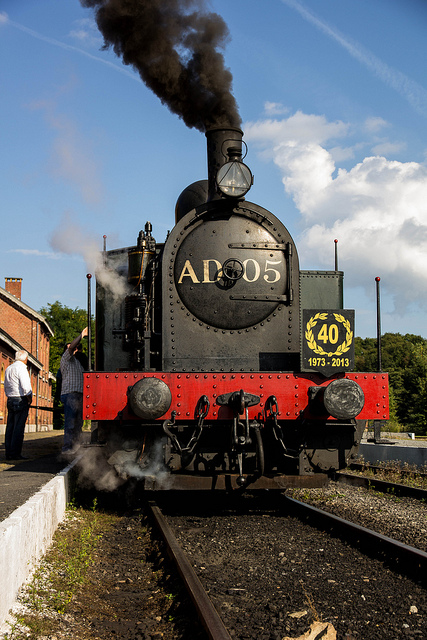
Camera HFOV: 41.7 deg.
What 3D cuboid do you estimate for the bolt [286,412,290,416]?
[{"bbox_3d":[0.730,0.912,5.459,0.034,0.029,0.046,-4,-7,-3],"label":"bolt"}]

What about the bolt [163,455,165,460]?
[{"bbox_3d":[-0.468,1.317,5.383,0.018,0.036,0.019,0,-1,-5],"label":"bolt"}]

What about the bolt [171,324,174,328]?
[{"bbox_3d":[-0.427,0.062,5.965,0.027,0.027,0.004,2,-8,-6],"label":"bolt"}]

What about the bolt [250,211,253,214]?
[{"bbox_3d":[0.431,-1.210,6.265,0.030,0.030,0.006,3,-8,-12],"label":"bolt"}]

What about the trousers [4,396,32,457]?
[{"bbox_3d":[-3.201,1.748,9.190,0.365,1.003,0.588,4,-8,-20],"label":"trousers"}]

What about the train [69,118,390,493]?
[{"bbox_3d":[0.167,-0.232,6.201,3.339,4.630,2.254,0,-8,11],"label":"train"}]

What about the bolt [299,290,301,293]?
[{"bbox_3d":[0.998,-0.335,6.421,0.018,0.033,0.033,1,6,9],"label":"bolt"}]

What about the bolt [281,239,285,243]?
[{"bbox_3d":[0.794,-0.899,6.351,0.035,0.022,0.043,2,3,1],"label":"bolt"}]

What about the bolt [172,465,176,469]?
[{"bbox_3d":[-0.383,1.437,5.467,0.027,0.038,0.011,0,-7,-20],"label":"bolt"}]

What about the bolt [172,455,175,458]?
[{"bbox_3d":[-0.378,1.329,5.466,0.029,0.021,0.016,0,3,-30],"label":"bolt"}]

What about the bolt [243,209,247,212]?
[{"bbox_3d":[0.351,-1.227,6.247,0.029,0.013,0.043,0,-2,-3],"label":"bolt"}]

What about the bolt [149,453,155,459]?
[{"bbox_3d":[-0.585,1.318,5.429,0.050,0.051,0.014,9,-5,1],"label":"bolt"}]

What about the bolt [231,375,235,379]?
[{"bbox_3d":[0.193,0.542,5.386,0.028,0.030,0.007,0,-4,-16],"label":"bolt"}]

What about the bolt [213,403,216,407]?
[{"bbox_3d":[0.016,0.810,5.352,0.025,0.036,0.012,0,-8,8],"label":"bolt"}]

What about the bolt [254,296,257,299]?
[{"bbox_3d":[0.470,-0.252,6.130,0.029,0.029,0.007,5,-9,-23],"label":"bolt"}]

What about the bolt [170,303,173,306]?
[{"bbox_3d":[-0.443,-0.173,5.994,0.027,0.027,0.005,2,-8,-6],"label":"bolt"}]

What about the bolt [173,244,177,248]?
[{"bbox_3d":[-0.402,-0.799,6.006,0.026,0.028,0.012,-2,38,-3],"label":"bolt"}]

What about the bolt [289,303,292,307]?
[{"bbox_3d":[0.874,-0.175,6.279,0.031,0.042,0.019,3,-8,-8],"label":"bolt"}]

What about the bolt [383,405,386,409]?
[{"bbox_3d":[1.741,0.879,5.680,0.030,0.038,0.014,5,-9,-26],"label":"bolt"}]

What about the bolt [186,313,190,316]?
[{"bbox_3d":[-0.259,-0.065,6.004,0.022,0.028,0.005,3,-8,-12],"label":"bolt"}]

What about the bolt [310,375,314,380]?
[{"bbox_3d":[0.979,0.567,5.572,0.037,0.039,0.013,3,-3,-22],"label":"bolt"}]

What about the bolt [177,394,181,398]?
[{"bbox_3d":[-0.322,0.719,5.331,0.020,0.028,0.021,-7,43,-25],"label":"bolt"}]

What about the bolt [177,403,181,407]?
[{"bbox_3d":[-0.320,0.805,5.327,0.030,0.023,0.038,0,0,-3],"label":"bolt"}]

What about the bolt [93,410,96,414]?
[{"bbox_3d":[-1.122,0.874,5.313,0.028,0.030,0.060,-1,-3,-14],"label":"bolt"}]

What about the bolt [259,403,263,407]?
[{"bbox_3d":[0.465,0.816,5.409,0.032,0.034,0.008,1,-4,-30],"label":"bolt"}]

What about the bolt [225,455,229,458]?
[{"bbox_3d":[0.141,1.394,5.724,0.029,0.022,0.024,-2,-9,21],"label":"bolt"}]

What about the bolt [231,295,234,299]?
[{"bbox_3d":[0.210,-0.253,6.076,0.022,0.034,0.009,-2,-4,-12],"label":"bolt"}]

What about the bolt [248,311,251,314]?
[{"bbox_3d":[0.401,-0.087,6.124,0.029,0.029,0.003,3,-8,-12],"label":"bolt"}]

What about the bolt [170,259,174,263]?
[{"bbox_3d":[-0.441,-0.641,6.012,0.034,0.033,0.007,3,-8,-8],"label":"bolt"}]

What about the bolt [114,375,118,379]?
[{"bbox_3d":[-0.918,0.539,5.348,0.030,0.036,0.030,2,-7,-12],"label":"bolt"}]

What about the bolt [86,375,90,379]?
[{"bbox_3d":[-1.189,0.534,5.337,0.038,0.040,0.009,-1,0,-28],"label":"bolt"}]

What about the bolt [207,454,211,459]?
[{"bbox_3d":[-0.038,1.384,5.689,0.026,0.037,0.008,-1,-4,-30],"label":"bolt"}]

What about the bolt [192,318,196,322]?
[{"bbox_3d":[-0.202,-0.009,6.012,0.032,0.033,0.031,1,-5,-4],"label":"bolt"}]

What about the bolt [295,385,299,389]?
[{"bbox_3d":[0.826,0.651,5.525,0.033,0.025,0.003,3,-8,-13],"label":"bolt"}]

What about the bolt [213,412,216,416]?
[{"bbox_3d":[0.016,0.891,5.338,0.024,0.024,0.005,2,-8,-6],"label":"bolt"}]

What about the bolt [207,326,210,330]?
[{"bbox_3d":[-0.045,0.078,6.043,0.025,0.026,0.027,3,-2,-11],"label":"bolt"}]

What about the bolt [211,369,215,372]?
[{"bbox_3d":[-0.001,0.515,5.808,0.025,0.017,0.037,3,3,12],"label":"bolt"}]

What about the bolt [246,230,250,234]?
[{"bbox_3d":[0.390,-0.987,6.223,0.038,0.045,0.007,6,-9,-30],"label":"bolt"}]

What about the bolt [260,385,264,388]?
[{"bbox_3d":[0.477,0.640,5.432,0.038,0.025,0.008,5,-9,-25],"label":"bolt"}]
